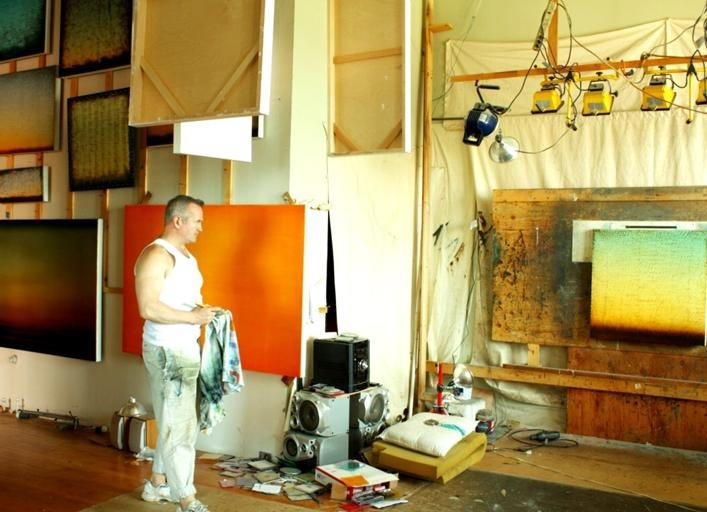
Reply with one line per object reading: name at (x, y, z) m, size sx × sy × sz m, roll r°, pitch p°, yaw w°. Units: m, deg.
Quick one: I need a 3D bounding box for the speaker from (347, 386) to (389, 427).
speaker at (0.164, 1.425, 6.618) m, size 0.333 × 0.398 × 0.586 m, roll -1°, pitch -4°, yaw 26°

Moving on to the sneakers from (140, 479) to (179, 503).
sneakers at (-1.538, 1.931, 5.664) m, size 0.433 × 0.184 × 0.167 m, roll 3°, pitch -3°, yaw -7°

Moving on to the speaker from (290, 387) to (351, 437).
speaker at (-0.333, 1.383, 6.292) m, size 0.412 × 0.406 × 0.525 m, roll 2°, pitch -1°, yaw -39°

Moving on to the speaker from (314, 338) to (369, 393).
speaker at (-0.083, 1.024, 6.578) m, size 0.505 × 0.489 × 0.470 m, roll -1°, pitch -3°, yaw 25°

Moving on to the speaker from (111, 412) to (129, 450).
speaker at (-2.265, 1.676, 6.620) m, size 0.225 × 0.345 × 0.072 m, roll 7°, pitch 9°, yaw 35°

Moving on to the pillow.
pillow at (0.672, 1.631, 6.462) m, size 0.713 × 0.180 × 0.668 m, roll 7°, pitch 9°, yaw 35°

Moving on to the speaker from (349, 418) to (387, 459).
speaker at (0.135, 1.728, 6.570) m, size 0.384 × 0.369 × 0.244 m, roll -1°, pitch 4°, yaw -18°
